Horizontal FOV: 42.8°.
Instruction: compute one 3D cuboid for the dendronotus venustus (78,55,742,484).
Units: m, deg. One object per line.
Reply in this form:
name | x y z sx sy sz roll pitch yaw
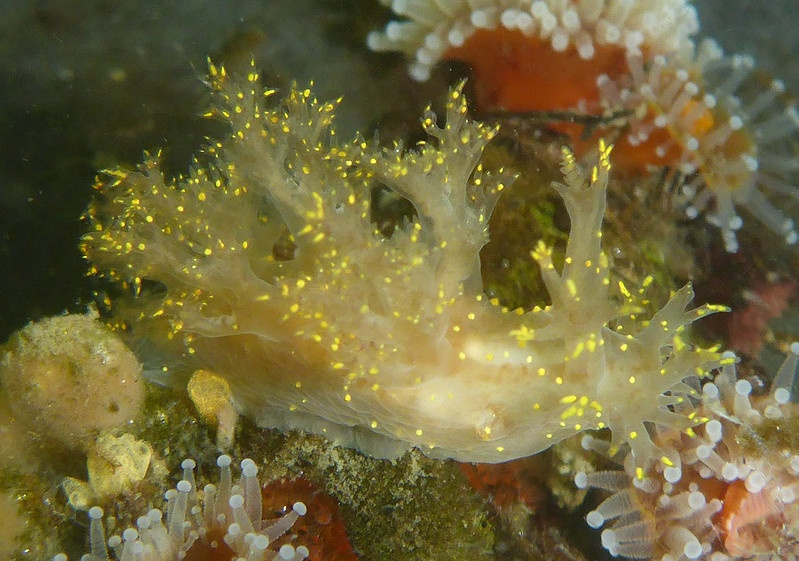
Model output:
dendronotus venustus | -0.083 0.079 5.712 3.275 0.730 1.817 15 84 2
